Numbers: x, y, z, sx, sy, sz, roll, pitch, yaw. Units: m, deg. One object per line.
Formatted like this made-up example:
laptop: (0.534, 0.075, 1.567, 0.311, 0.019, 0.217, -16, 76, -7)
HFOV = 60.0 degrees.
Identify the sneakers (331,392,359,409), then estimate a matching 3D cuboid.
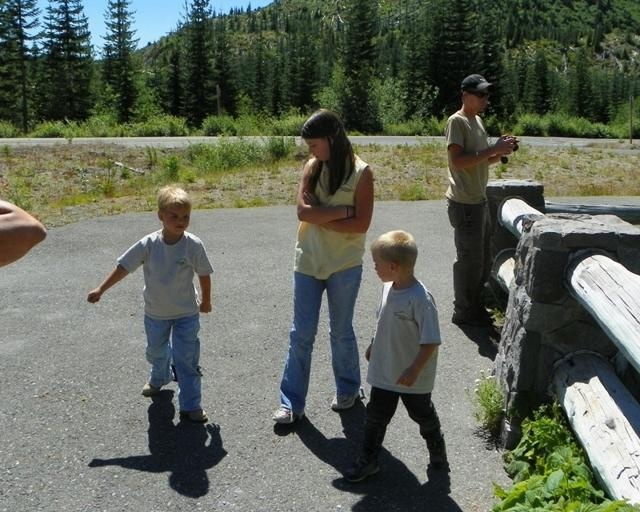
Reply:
sneakers: (0.197, 1.151, 4.447, 0.234, 0.119, 0.098, -1, 8, -33)

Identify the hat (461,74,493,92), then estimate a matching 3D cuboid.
hat: (1.545, -1.678, 5.472, 0.291, 0.169, 0.227, 11, 29, 30)

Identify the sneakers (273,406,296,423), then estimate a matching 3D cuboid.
sneakers: (-0.265, 1.212, 4.227, 0.082, 0.097, 0.196, 1, -13, 5)

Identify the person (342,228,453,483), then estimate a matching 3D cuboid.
person: (0.517, 0.674, 3.540, 0.610, 1.598, 0.459, 1, 14, 15)

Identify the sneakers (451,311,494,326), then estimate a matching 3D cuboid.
sneakers: (1.655, 0.694, 6.032, 0.433, 0.229, 0.162, 4, 2, 8)

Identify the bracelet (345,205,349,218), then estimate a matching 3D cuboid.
bracelet: (0.209, -0.326, 4.089, 0.039, 0.062, 0.013, -5, 7, -43)

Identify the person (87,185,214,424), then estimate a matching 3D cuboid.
person: (-1.190, 0.347, 4.340, 0.707, 1.747, 0.520, 1, 14, 14)

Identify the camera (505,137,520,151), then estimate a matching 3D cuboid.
camera: (1.825, -1.090, 5.285, 0.061, 0.192, 0.169, 2, 13, 33)

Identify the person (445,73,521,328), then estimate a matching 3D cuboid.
person: (1.599, -0.517, 5.649, 0.733, 2.565, 0.636, 11, 19, 43)
